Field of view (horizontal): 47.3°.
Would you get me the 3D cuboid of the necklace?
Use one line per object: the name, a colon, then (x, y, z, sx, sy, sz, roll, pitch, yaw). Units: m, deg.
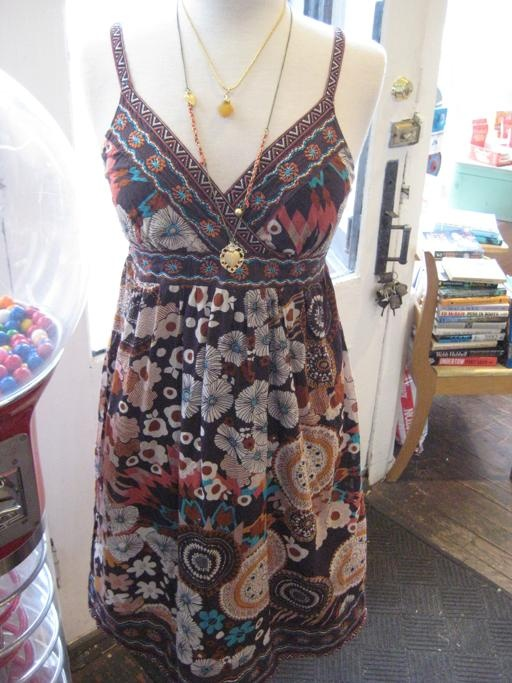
necklace: (-0.037, -0.312, 0.860, 0.178, 0.413, 0.166, 1, 10, 1)
